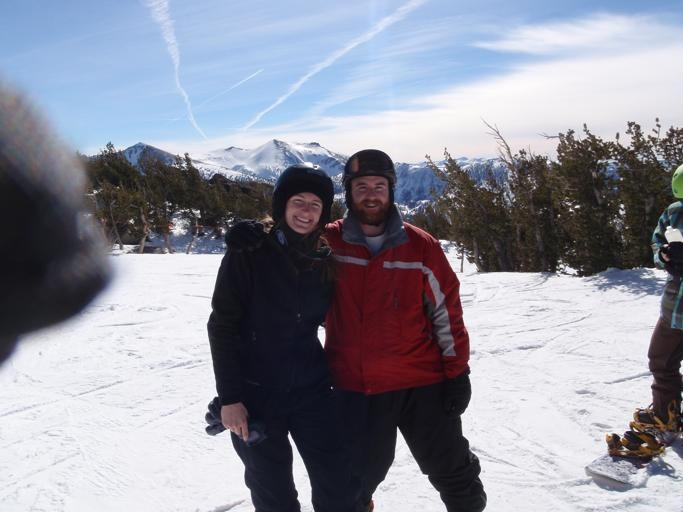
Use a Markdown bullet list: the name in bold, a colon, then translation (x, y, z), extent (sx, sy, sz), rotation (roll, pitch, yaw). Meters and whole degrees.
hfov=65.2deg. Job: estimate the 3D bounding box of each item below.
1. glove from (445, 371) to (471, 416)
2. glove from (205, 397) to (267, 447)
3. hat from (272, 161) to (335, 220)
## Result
- **glove**: translation (1.025, 1.167, 4.564), extent (0.117, 0.321, 0.240), rotation (3, 2, -42)
- **glove**: translation (-0.828, 1.284, 4.101), extent (0.450, 0.275, 0.176), rotation (15, 32, -6)
- **hat**: translation (-0.341, -0.522, 4.631), extent (0.433, 0.493, 0.508), rotation (5, -27, -8)
